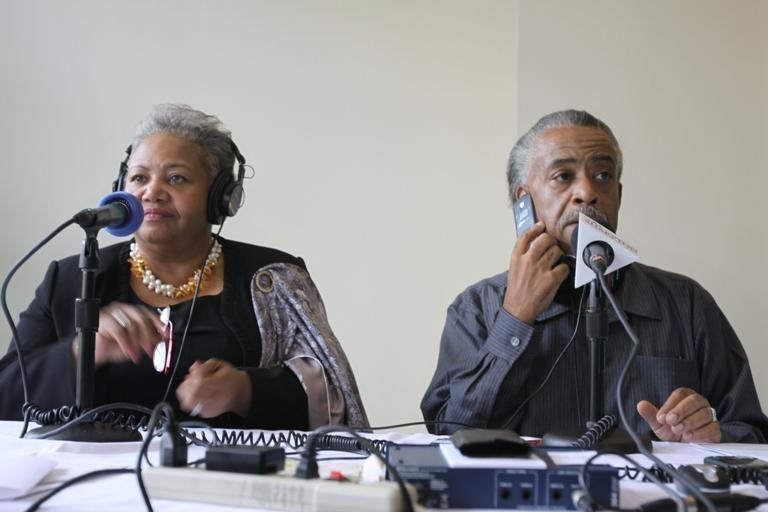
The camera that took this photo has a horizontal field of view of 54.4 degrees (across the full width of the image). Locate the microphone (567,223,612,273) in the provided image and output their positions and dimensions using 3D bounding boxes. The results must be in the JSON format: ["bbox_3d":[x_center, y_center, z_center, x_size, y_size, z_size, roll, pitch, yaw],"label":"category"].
[{"bbox_3d":[0.765,-0.030,2.740,0.149,0.144,0.096,-3,-22,16],"label":"microphone"}]

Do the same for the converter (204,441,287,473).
[{"bbox_3d":[-0.437,0.619,2.258,0.229,0.066,0.320,1,4,-9],"label":"converter"}]

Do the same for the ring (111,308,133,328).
[{"bbox_3d":[-1.055,0.253,2.979,0.048,0.089,0.027,-37,-12,-19],"label":"ring"}]

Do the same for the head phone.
[{"bbox_3d":[-0.967,-0.405,3.660,0.534,0.501,0.203,1,-17,5],"label":"head phone"}]

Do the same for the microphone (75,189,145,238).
[{"bbox_3d":[-1.042,-0.158,2.837,0.240,0.177,0.232,1,3,-16],"label":"microphone"}]
